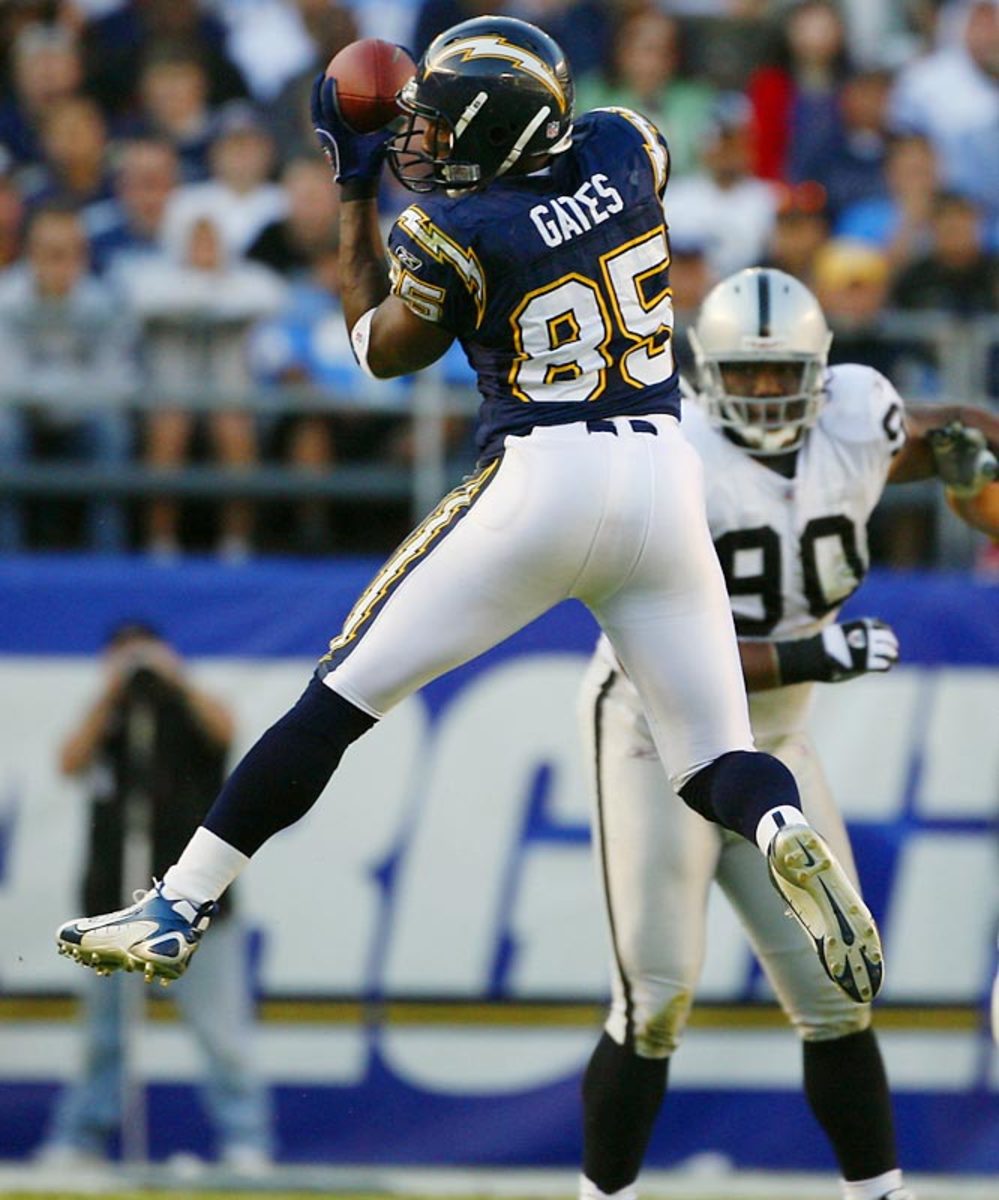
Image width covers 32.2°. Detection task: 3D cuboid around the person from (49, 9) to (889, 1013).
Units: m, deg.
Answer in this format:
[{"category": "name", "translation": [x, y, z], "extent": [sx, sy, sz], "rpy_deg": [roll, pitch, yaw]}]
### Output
[{"category": "person", "translation": [0.040, -0.164, 2.795], "extent": [1.227, 1.580, 0.537], "rpy_deg": [4, 6, 10]}]

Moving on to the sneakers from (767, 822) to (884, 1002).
[{"category": "sneakers", "translation": [0.484, 0.462, 2.583], "extent": [0.179, 0.289, 0.165], "rpy_deg": [6, 6, 20]}]

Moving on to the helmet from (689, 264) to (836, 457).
[{"category": "helmet", "translation": [0.509, -0.494, 3.373], "extent": [0.316, 0.300, 0.378], "rpy_deg": [-1, 21, 5]}]

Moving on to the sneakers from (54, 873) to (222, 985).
[{"category": "sneakers", "translation": [-0.580, 0.524, 2.760], "extent": [0.291, 0.140, 0.091], "rpy_deg": [-2, -23, 25]}]

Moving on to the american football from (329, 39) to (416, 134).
[{"category": "american football", "translation": [-0.205, -0.874, 3.013], "extent": [0.131, 0.131, 0.130], "rpy_deg": [23, 16, 34]}]

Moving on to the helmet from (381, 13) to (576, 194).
[{"category": "helmet", "translation": [-0.093, -0.814, 2.864], "extent": [0.363, 0.249, 0.255], "rpy_deg": [-6, 14, 20]}]
